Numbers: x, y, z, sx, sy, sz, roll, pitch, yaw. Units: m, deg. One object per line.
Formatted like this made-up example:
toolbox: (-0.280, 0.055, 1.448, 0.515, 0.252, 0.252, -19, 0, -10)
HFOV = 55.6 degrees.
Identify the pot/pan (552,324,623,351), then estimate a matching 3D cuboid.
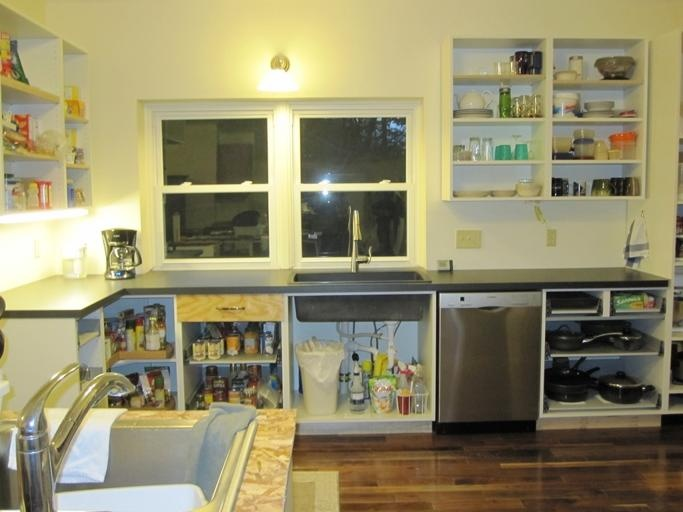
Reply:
pot/pan: (1.605, 0.557, 4.394, 0.424, 0.134, 0.193, -1, 0, -1)

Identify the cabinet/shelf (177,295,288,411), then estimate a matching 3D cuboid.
cabinet/shelf: (-0.721, 0.624, 4.463, 0.731, 0.817, 0.603, -2, 4, -4)

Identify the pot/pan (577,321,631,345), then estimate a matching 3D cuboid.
pot/pan: (1.774, 0.499, 4.409, 0.201, 0.096, 0.264, -1, 5, 15)

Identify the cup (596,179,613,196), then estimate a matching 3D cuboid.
cup: (1.777, -0.473, 4.457, 0.104, 0.105, 0.107, 0, 2, 0)

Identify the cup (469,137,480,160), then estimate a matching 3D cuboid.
cup: (0.899, -0.745, 4.473, 0.068, 0.173, 0.152, -1, 5, 11)

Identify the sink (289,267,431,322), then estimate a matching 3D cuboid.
sink: (0.115, 0.290, 4.431, 0.881, 0.354, 0.576, -2, 4, -4)

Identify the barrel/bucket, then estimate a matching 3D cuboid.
barrel/bucket: (-0.106, 0.804, 4.498, 0.449, 0.529, 0.412, -1, 4, 0)

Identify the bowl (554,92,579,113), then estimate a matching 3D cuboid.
bowl: (1.526, -1.063, 4.522, 0.147, 0.117, 0.150, 0, 6, 0)

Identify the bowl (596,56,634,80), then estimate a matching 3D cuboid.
bowl: (1.841, -1.254, 4.444, 0.210, 0.129, 0.217, -1, 7, 0)

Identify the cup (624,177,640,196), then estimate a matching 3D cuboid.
cup: (1.973, -0.486, 4.473, 0.114, 0.138, 0.117, 0, 8, 0)

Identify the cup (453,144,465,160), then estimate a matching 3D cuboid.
cup: (0.791, -0.723, 4.481, 0.088, 0.104, 0.090, 1, 1, 0)

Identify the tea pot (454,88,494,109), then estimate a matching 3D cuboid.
tea pot: (0.919, -1.106, 4.552, 0.275, 0.170, 0.292, -1, 4, 0)

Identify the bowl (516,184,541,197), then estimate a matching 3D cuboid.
bowl: (1.265, -0.457, 4.460, 0.167, 0.098, 0.077, 0, 5, 14)

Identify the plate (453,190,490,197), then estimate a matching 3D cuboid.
plate: (0.878, -0.430, 4.470, 0.246, 0.048, 0.098, 0, 5, 12)

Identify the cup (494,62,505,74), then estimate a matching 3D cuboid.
cup: (1.068, -1.289, 4.430, 0.069, 0.102, 0.080, -2, 4, -6)

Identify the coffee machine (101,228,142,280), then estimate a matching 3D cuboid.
coffee machine: (-1.503, -0.025, 4.450, 0.345, 0.371, 0.234, -2, 4, -12)

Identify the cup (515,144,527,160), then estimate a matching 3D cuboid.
cup: (1.212, -0.720, 4.451, 0.105, 0.107, 0.077, 5, 7, 43)

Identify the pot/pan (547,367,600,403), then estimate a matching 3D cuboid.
pot/pan: (1.566, 0.872, 4.457, 0.333, 0.124, 0.204, -2, 2, -21)

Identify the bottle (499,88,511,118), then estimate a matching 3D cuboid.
bottle: (1.098, -1.060, 4.456, 0.081, 0.213, 0.102, -2, 4, -4)

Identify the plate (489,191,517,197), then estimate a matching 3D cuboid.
plate: (1.093, -0.434, 4.472, 0.160, 0.054, 0.108, 0, 5, 16)

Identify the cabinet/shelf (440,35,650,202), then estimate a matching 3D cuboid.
cabinet/shelf: (1.380, -0.995, 4.498, 1.107, 0.905, 0.305, 0, 2, -1)

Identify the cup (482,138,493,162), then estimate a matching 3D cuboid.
cup: (1.009, -0.753, 4.530, 0.063, 0.153, 0.165, 1, 5, 27)

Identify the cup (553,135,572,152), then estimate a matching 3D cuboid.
cup: (1.496, -0.775, 4.462, 0.103, 0.070, 0.106, 0, 3, 0)

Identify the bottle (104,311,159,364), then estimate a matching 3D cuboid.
bottle: (-1.344, 0.513, 4.272, 0.328, 0.262, 0.333, 0, 3, 0)

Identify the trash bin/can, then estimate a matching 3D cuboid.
trash bin/can: (-0.080, 0.830, 4.501, 0.446, 0.526, 0.413, -1, 4, 1)

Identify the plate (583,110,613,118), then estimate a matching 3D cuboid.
plate: (1.755, -0.988, 4.487, 0.211, 0.053, 0.073, -2, 4, -6)

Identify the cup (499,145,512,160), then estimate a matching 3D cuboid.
cup: (1.112, -0.734, 4.555, 0.104, 0.110, 0.103, -1, 10, 0)

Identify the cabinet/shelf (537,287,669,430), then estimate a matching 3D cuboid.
cabinet/shelf: (1.736, 0.690, 4.359, 0.917, 0.896, 0.372, 0, -1, 2)

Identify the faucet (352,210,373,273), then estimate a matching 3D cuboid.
faucet: (0.130, -0.113, 4.620, 0.147, 0.445, 0.381, -1, 4, 2)
